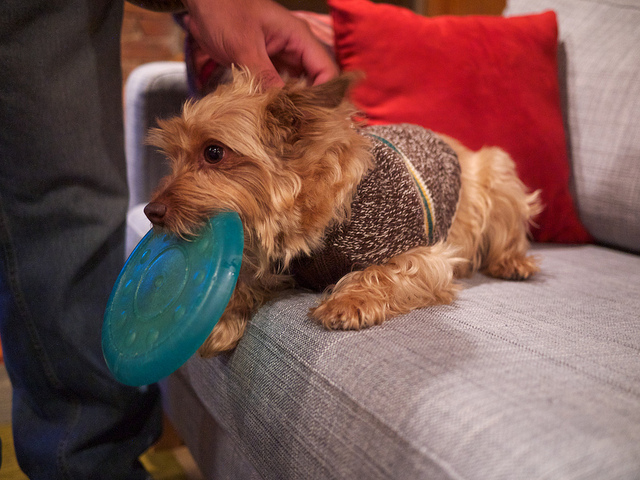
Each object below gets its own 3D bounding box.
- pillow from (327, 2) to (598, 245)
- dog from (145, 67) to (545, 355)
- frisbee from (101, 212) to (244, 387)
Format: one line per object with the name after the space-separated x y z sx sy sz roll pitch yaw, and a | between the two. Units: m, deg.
0.436 -0.345 1.769 0.732 0.810 0.266 -1 4 4 | pillow
0.114 -0.097 1.738 1.112 0.648 0.651 -7 4 -37 | dog
-0.335 0.147 1.356 0.417 0.061 0.439 -20 42 41 | frisbee
